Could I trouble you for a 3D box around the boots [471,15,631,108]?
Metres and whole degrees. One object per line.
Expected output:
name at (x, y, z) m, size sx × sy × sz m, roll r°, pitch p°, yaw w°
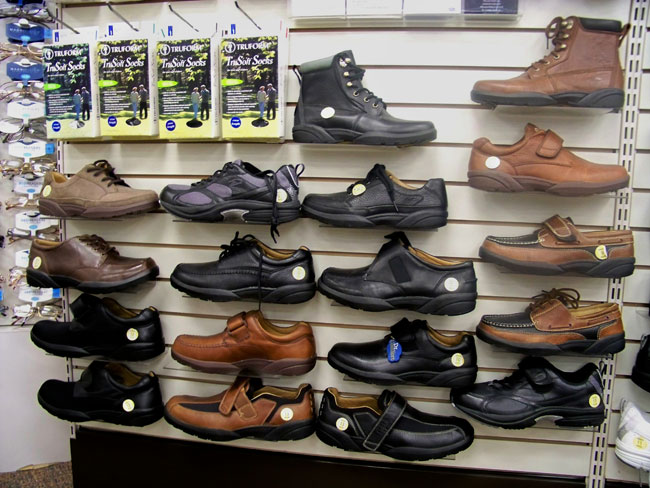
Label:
boots at (1.012, -0.843, 2.555) m, size 0.812 × 0.383 × 0.245 m, roll -5°, pitch 21°, yaw -10°
